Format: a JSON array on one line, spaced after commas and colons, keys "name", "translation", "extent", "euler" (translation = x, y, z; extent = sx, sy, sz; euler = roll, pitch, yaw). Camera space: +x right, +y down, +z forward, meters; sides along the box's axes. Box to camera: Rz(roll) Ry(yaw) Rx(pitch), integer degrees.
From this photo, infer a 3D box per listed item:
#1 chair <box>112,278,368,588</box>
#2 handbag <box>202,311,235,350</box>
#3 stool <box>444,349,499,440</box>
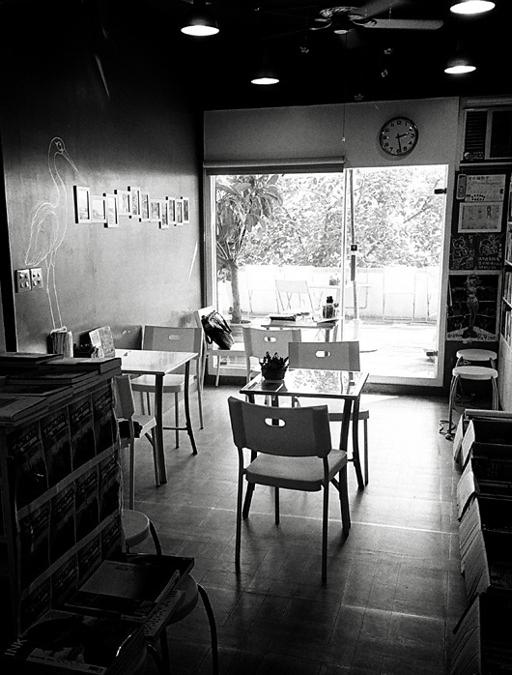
[{"name": "chair", "translation": [-0.035, 0.534, 2.843], "extent": [0.614, 1.538, 0.827], "euler": [3, 15, 19]}, {"name": "handbag", "translation": [-0.388, -0.069, 5.499], "extent": [0.114, 0.441, 0.290], "euler": [-14, 2, 29]}, {"name": "stool", "translation": [1.812, 0.471, 4.388], "extent": [0.434, 0.827, 0.530], "euler": [2, 6, 19]}]
